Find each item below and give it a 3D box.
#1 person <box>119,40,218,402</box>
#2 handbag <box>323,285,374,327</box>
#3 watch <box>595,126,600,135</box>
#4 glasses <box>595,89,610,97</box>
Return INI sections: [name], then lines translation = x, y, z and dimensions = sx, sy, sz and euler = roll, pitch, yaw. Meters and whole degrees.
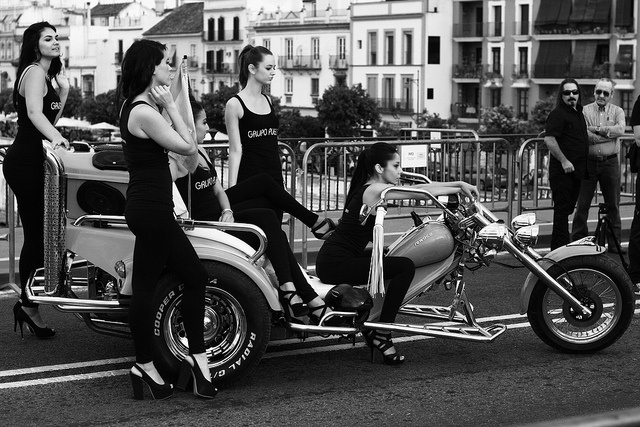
[person]
translation = -1.254, 0.065, 6.153
dimensions = 0.687, 2.861, 0.525
euler = -1, 9, -10
[handbag]
translation = 0.246, 0.777, 6.650
dimensions = 0.370, 0.377, 0.320
euler = 5, -3, 25
[watch]
translation = 4.164, -1.245, 11.453
dimensions = 0.076, 0.126, 0.046
euler = 0, 0, 9
[glasses]
translation = 4.243, -1.802, 11.450
dimensions = 0.190, 0.103, 0.167
euler = 5, 11, 26
